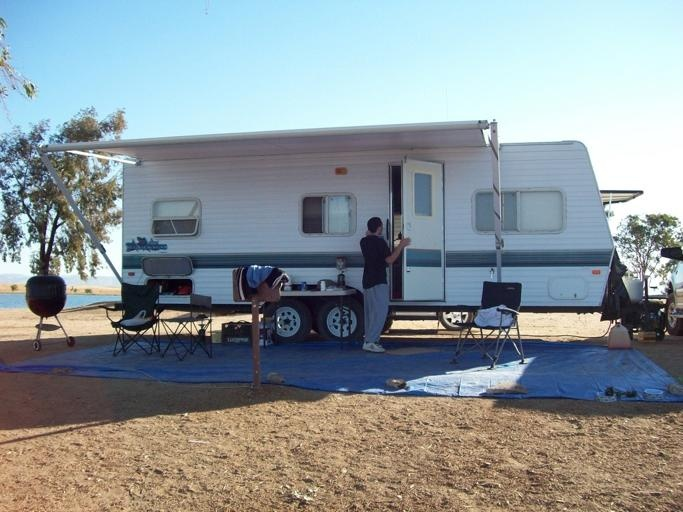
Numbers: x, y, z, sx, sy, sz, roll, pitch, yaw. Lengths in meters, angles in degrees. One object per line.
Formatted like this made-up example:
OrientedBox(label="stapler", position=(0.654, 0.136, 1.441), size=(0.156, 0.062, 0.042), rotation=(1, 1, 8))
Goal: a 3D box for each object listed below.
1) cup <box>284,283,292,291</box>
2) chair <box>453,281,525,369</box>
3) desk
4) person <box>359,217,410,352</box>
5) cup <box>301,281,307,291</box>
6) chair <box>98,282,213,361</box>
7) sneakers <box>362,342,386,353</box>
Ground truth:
OrientedBox(label="cup", position=(-0.819, 0.468, 9.718), size=(0.115, 0.114, 0.118), rotation=(0, -1, 0))
OrientedBox(label="chair", position=(2.060, 0.889, 8.782), size=(0.860, 1.114, 2.325), rotation=(0, 6, 13))
OrientedBox(label="desk", position=(-0.460, 0.954, 9.716), size=(1.175, 0.629, 0.893), rotation=(-2, -4, 16))
OrientedBox(label="person", position=(0.575, 0.397, 9.117), size=(0.614, 1.884, 0.866), rotation=(-1, 6, 0))
OrientedBox(label="cup", position=(-0.571, 0.454, 9.737), size=(0.095, 0.178, 0.095), rotation=(0, -6, 0))
OrientedBox(label="chair", position=(-2.832, 1.027, 9.887), size=(1.183, 0.816, 0.478), rotation=(-1, -6, 5))
OrientedBox(label="sneakers", position=(0.454, 1.290, 9.078), size=(0.313, 0.152, 0.127), rotation=(0, -2, 14))
